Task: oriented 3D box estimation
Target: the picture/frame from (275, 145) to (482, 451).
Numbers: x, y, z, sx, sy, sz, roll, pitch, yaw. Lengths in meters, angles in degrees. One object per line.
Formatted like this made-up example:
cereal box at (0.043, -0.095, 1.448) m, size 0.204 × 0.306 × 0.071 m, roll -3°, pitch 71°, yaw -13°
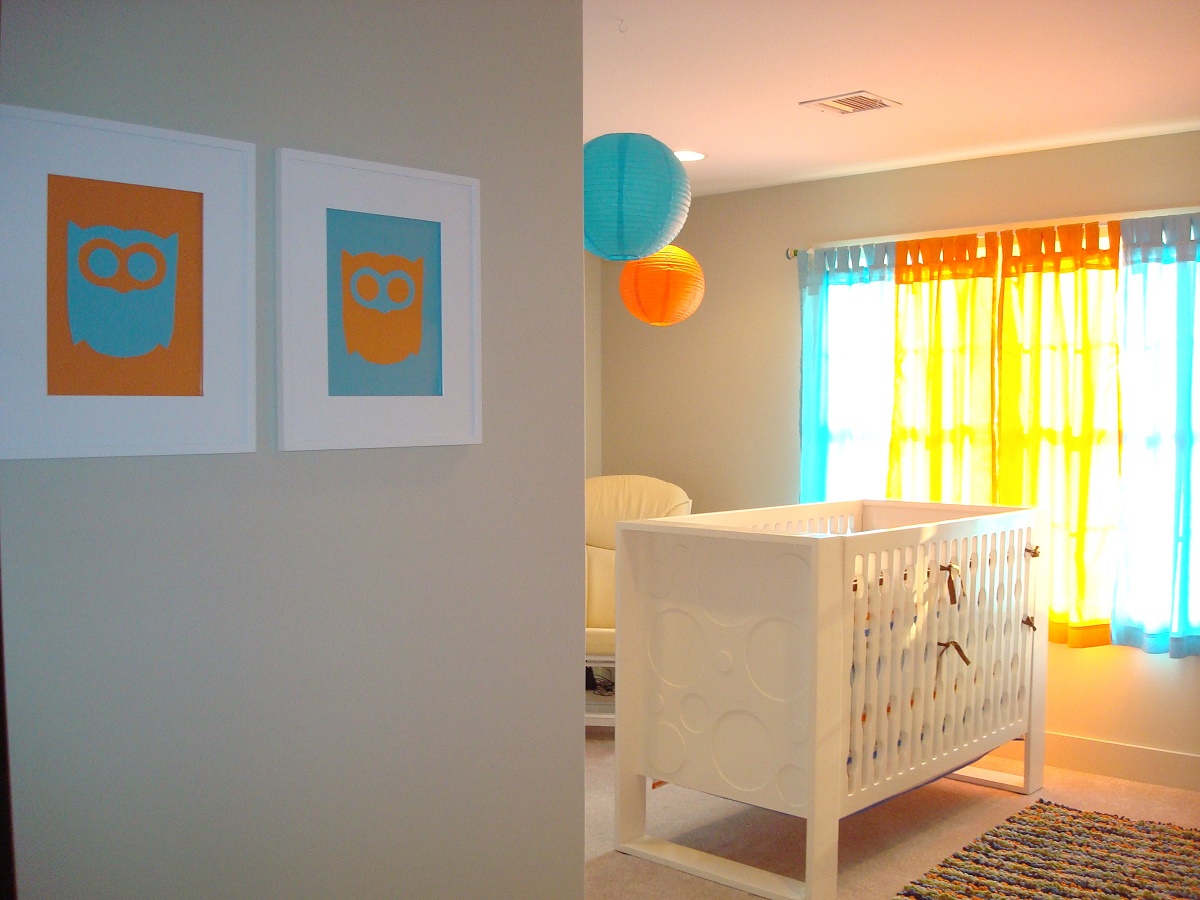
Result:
picture/frame at (-0.385, -0.255, 1.554) m, size 0.455 × 0.640 × 0.040 m, roll -4°, pitch 6°, yaw -42°

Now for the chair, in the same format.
chair at (0.143, 0.733, 4.394) m, size 0.693 × 1.162 × 0.772 m, roll 0°, pitch -5°, yaw 16°
